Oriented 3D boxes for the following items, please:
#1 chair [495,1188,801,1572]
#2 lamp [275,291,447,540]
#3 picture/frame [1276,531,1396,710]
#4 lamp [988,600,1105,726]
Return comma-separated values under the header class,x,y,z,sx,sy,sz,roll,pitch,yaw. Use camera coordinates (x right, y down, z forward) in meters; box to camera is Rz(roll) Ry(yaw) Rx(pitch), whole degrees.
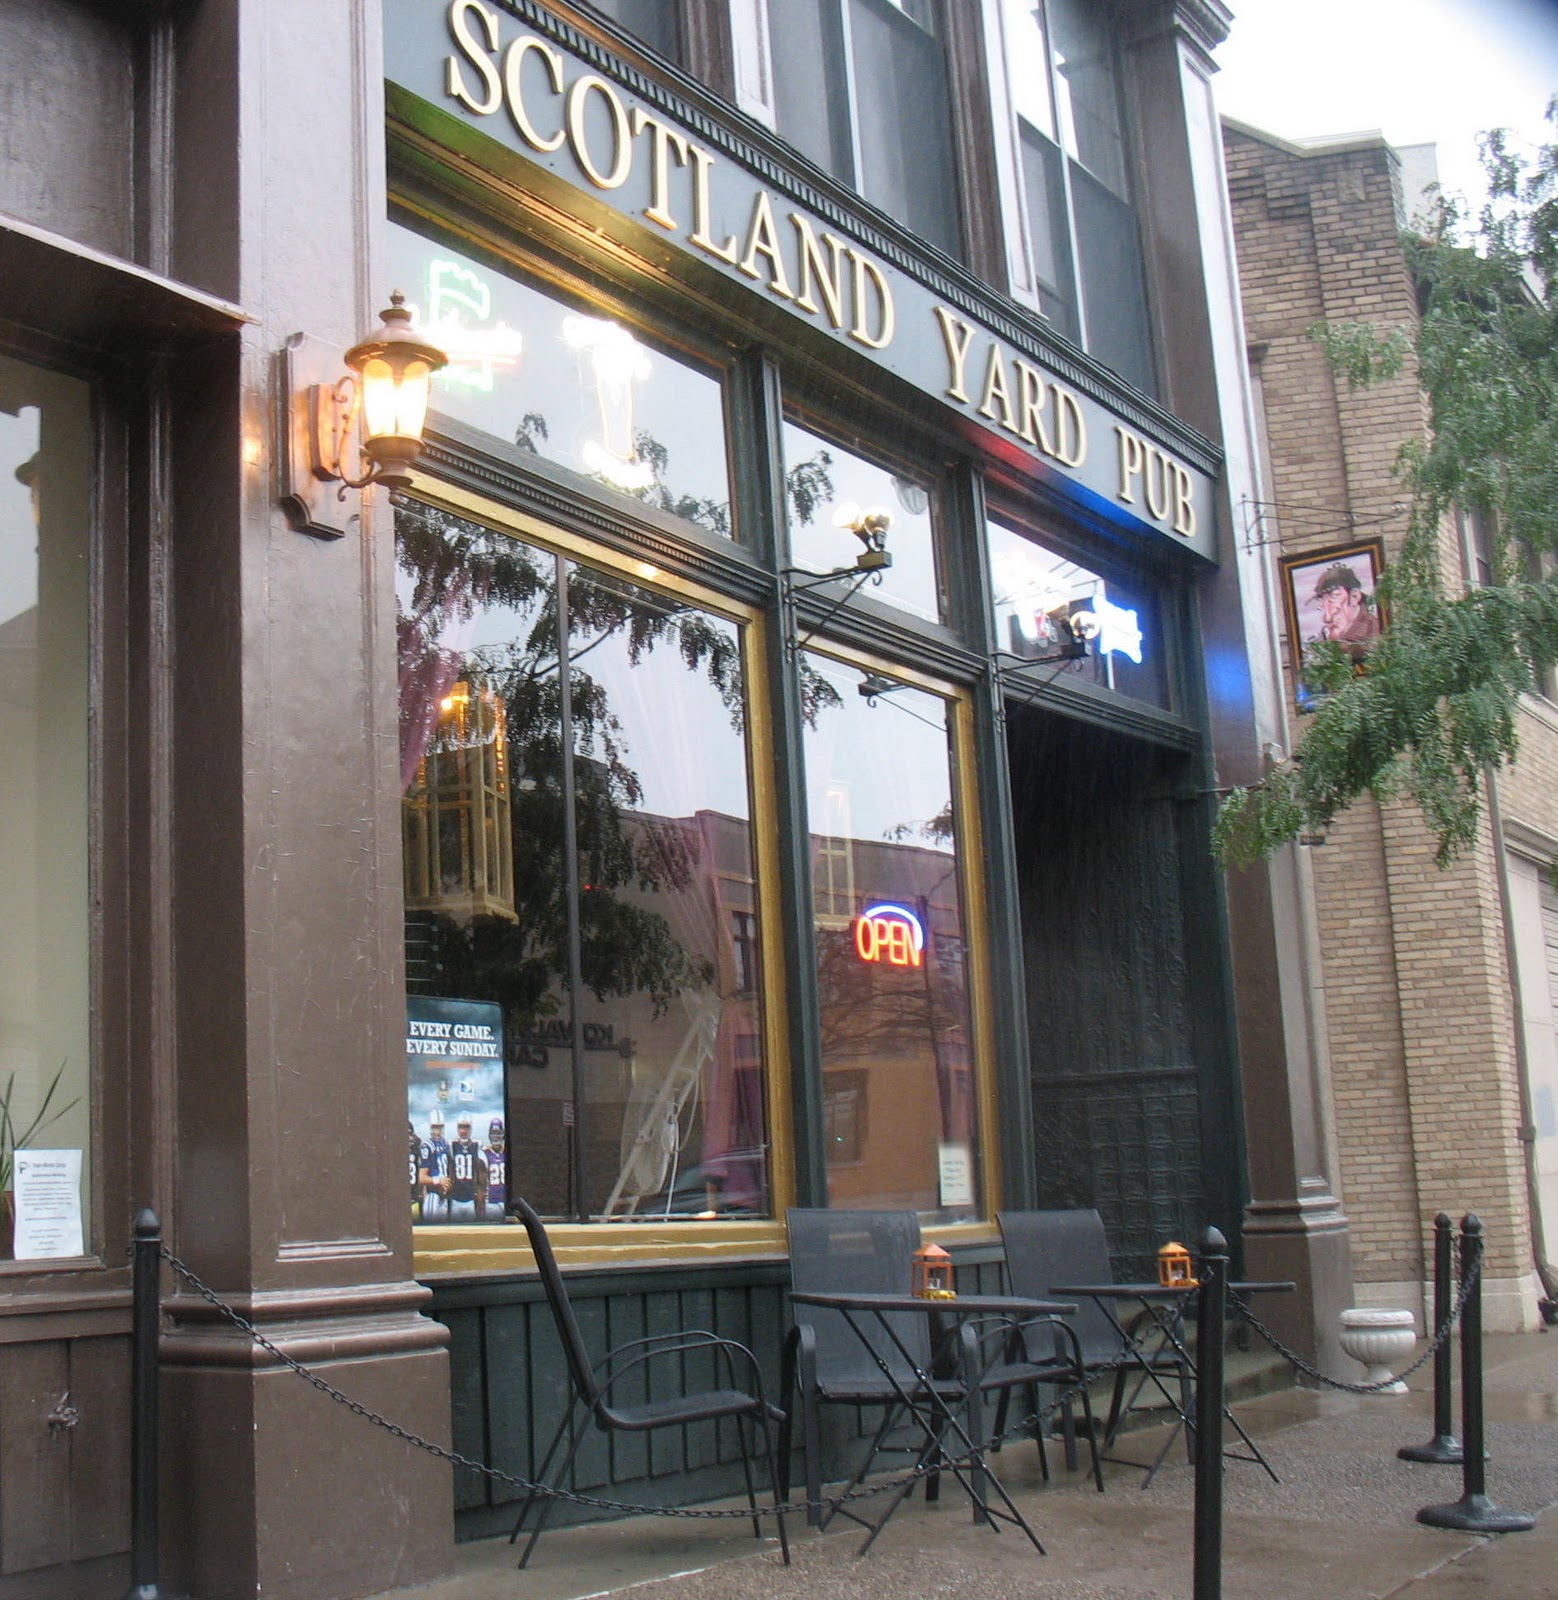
class,x,y,z,sx,sy,sz,roll,pitch,yaw
chair,-0.410,1.871,5.858,1.094,1.817,0.996,-1,-12,-3
lamp,-1.224,-1.113,5.203,0.463,0.689,0.299,-4,-9,5
picture/frame,3.734,-1.196,11.667,0.624,0.080,1.355,-11,-42,14
lamp,1.473,-0.758,9.778,0.220,0.658,0.581,-11,-13,40
